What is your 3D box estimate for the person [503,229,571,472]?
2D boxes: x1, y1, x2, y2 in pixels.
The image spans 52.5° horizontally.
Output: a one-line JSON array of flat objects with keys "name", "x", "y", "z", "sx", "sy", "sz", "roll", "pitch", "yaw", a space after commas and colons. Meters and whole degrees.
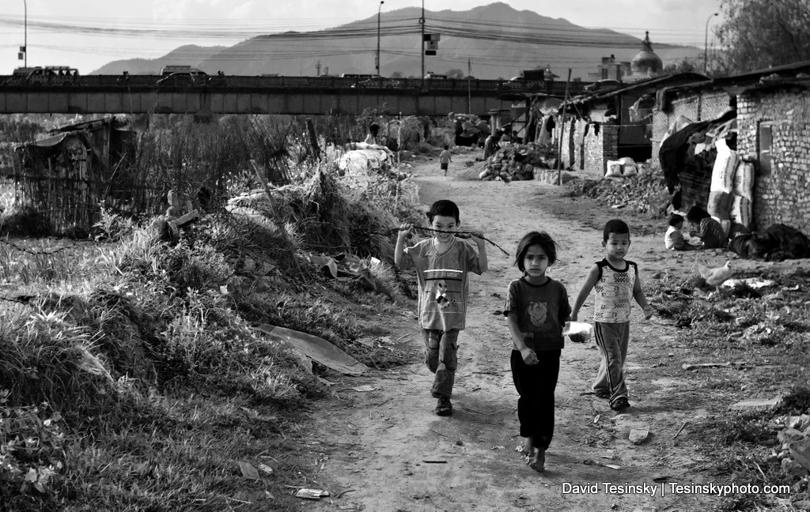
[{"name": "person", "x": 1.228, "y": 0.880, "z": 7.756, "sx": 0.488, "sy": 2.173, "sz": 0.541, "roll": 4, "pitch": 4, "yaw": 34}]

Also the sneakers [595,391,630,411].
[{"name": "sneakers", "x": 2.190, "y": 1.526, "z": 8.692, "sx": 0.191, "sy": 0.167, "sz": 0.444, "roll": 0, "pitch": 5, "yaw": -28}]

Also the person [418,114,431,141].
[{"name": "person", "x": 1.022, "y": -6.445, "z": 41.019, "sx": 0.338, "sy": 1.378, "sz": 1.275, "roll": 0, "pitch": -16, "yaw": -5}]

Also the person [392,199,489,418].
[{"name": "person", "x": 0.354, "y": 0.527, "z": 8.536, "sx": 0.838, "sy": 2.191, "sz": 0.445, "roll": 2, "pitch": 3, "yaw": 5}]

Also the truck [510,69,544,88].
[{"name": "truck", "x": 6.799, "y": -9.756, "z": 44.901, "sx": 1.673, "sy": 1.420, "sz": 2.849, "roll": 2, "pitch": 4, "yaw": 7}]

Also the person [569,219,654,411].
[{"name": "person", "x": 2.206, "y": 0.616, "z": 8.678, "sx": 0.760, "sy": 1.976, "sz": 1.206, "roll": 3, "pitch": 4, "yaw": 17}]

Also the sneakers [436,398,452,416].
[{"name": "sneakers", "x": 0.402, "y": 1.560, "z": 8.397, "sx": 0.178, "sy": 0.211, "sz": 0.124, "roll": 1, "pitch": -1, "yaw": 4}]
